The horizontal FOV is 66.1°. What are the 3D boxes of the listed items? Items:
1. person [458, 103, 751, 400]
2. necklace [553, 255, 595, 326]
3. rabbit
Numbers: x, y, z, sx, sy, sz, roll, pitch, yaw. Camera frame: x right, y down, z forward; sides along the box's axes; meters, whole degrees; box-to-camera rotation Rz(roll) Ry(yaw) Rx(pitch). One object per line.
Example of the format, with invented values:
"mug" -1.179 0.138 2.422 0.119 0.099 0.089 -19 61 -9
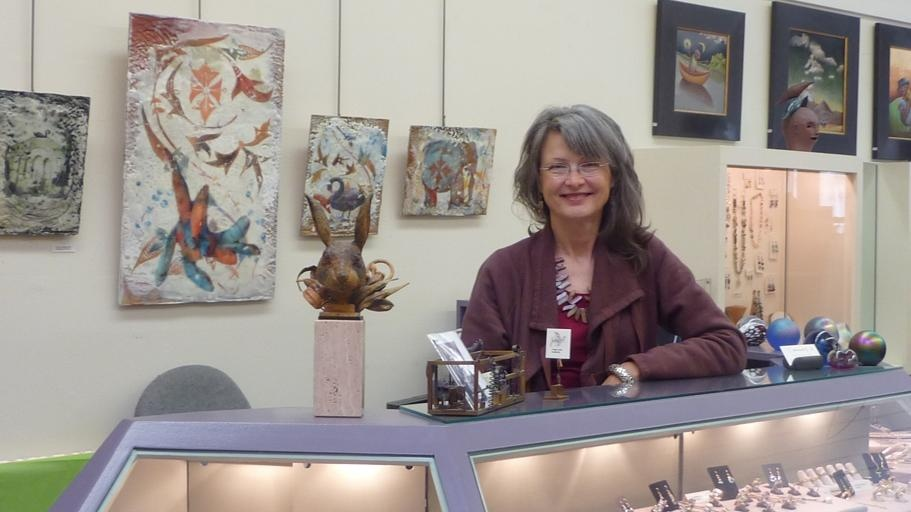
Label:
"person" 0.678 -0.046 3.347 1.262 1.332 0.510 0 10 20
"necklace" 0.583 0.159 3.401 0.121 0.308 0.127 1 3 -14
"rabbit" -0.522 -0.005 3.004 0.347 0.502 0.230 1 11 4
